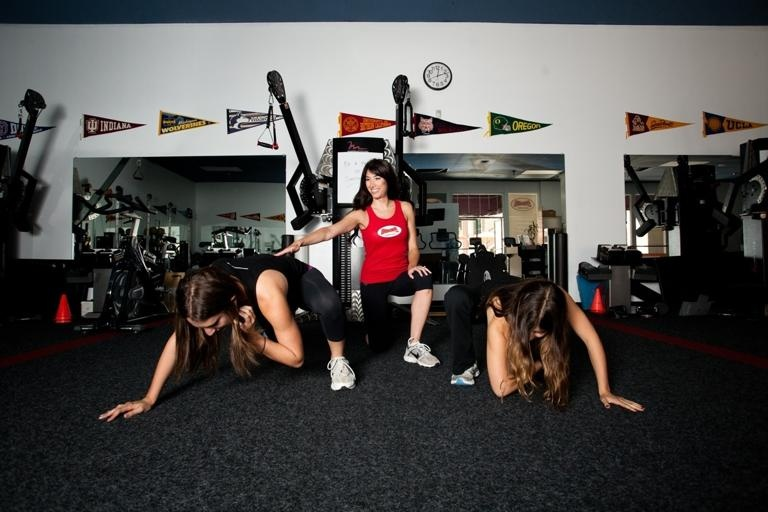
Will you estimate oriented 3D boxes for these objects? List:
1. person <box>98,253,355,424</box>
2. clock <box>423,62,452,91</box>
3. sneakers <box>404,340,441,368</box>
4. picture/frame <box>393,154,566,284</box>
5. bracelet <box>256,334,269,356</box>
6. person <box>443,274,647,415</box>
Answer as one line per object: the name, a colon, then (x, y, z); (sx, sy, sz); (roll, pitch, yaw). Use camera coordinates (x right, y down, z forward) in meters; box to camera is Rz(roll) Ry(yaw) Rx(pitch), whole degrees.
person: (-0.794, 0.307, 2.932); (0.966, 0.652, 1.139); (7, 25, 23)
clock: (0.607, -2.121, 5.920); (0.346, 0.334, 0.046); (1, -4, -1)
sneakers: (0.253, 0.683, 3.593); (0.119, 0.146, 0.301); (1, 0, -38)
picture/frame: (1.546, -0.670, 7.901); (2.202, 1.521, 0.043); (0, -4, -4)
bracelet: (-0.701, 0.511, 2.886); (0.099, 0.099, 0.095); (-4, 3, 12)
person: (0.807, 0.486, 2.853); (0.656, 0.505, 1.051); (-6, 13, -14)
